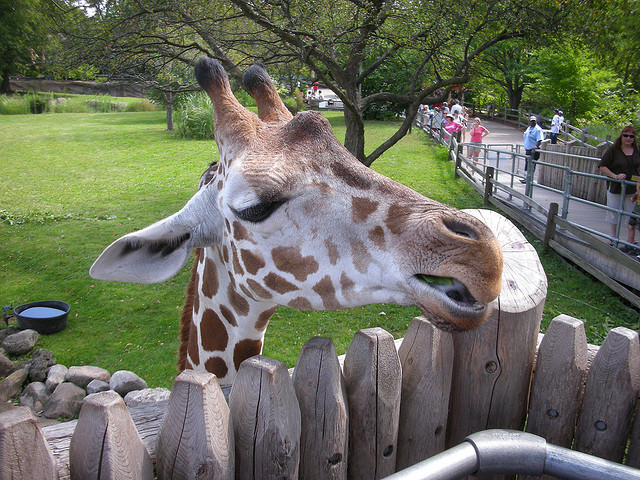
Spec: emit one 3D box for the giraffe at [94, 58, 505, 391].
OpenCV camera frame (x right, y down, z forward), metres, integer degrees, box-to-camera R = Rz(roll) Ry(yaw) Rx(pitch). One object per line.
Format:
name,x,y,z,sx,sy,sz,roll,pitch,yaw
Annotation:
giraffe,0.206,-0.064,3.743,2.067,2.889,1.972,17,32,18

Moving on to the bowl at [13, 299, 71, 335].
bowl,-4.157,1.168,7.537,0.710,0.382,0.577,11,16,30

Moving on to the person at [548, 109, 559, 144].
person,9.309,-4.532,19.858,0.304,1.229,2.300,7,14,23
